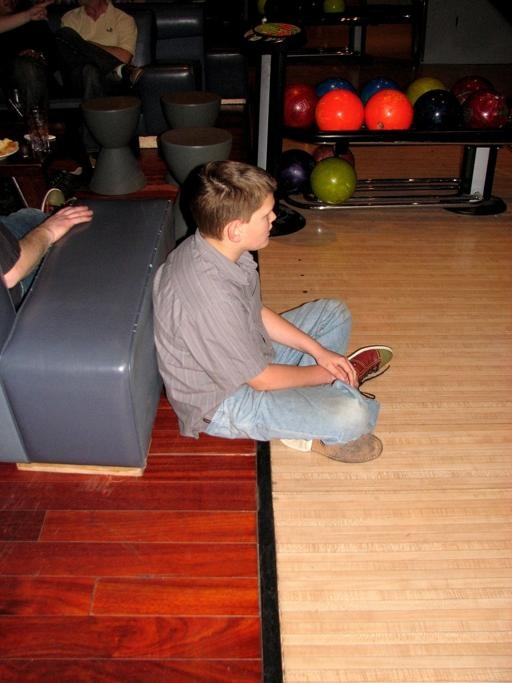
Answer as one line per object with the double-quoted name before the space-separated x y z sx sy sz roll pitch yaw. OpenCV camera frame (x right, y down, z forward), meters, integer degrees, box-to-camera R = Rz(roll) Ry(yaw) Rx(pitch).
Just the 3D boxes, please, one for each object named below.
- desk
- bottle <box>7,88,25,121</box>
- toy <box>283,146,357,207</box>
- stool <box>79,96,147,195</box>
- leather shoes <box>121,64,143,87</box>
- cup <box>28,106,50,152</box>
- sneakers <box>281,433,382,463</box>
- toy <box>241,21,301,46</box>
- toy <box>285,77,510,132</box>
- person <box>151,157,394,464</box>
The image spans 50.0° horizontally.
"desk" 0.923 -1.034 3.409 1.242 0.357 0.806 1 29 3
"bottle" -1.378 -1.363 3.135 0.050 0.161 0.476 -16 34 -18
"toy" 0.353 -0.810 2.822 0.266 0.281 0.262 9 -11 6
"stool" -0.904 -1.210 3.381 0.409 0.502 0.336 -15 45 -32
"leather shoes" -0.841 -1.806 3.714 0.078 0.089 0.210 -10 53 19
"cup" -1.103 -1.070 2.760 0.103 0.199 0.200 -12 34 -13
"sneakers" 0.221 0.319 1.701 0.315 0.113 0.097 0 43 8
"toy" 0.076 -1.480 2.622 0.269 0.081 0.400 -2 31 1
"toy" 0.713 -1.173 2.721 1.147 0.210 0.498 -2 31 -1
"person" 0.058 -0.066 1.562 0.685 0.821 0.589 4 32 5
